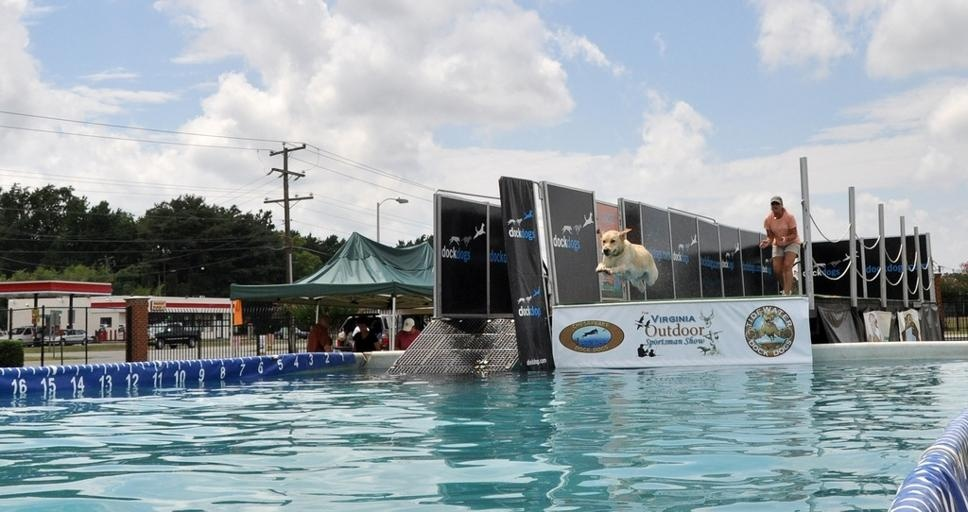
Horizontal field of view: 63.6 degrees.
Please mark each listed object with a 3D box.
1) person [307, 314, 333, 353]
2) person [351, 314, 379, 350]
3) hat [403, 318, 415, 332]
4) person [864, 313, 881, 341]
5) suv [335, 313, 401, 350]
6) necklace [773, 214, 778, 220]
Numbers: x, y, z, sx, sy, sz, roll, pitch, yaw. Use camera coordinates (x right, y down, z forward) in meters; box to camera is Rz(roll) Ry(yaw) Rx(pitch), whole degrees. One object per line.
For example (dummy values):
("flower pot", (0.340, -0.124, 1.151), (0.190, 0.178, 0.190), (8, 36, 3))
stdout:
("person", (-5.097, 2.370, 24.119), (0.679, 1.183, 1.694), (-3, 6, -13))
("person", (-3.772, 2.503, 25.231), (0.939, 0.776, 1.459), (2, 5, -2))
("hat", (-2.362, 2.194, 24.554), (0.347, 0.399, 0.402), (-3, 6, -16))
("person", (13.931, 2.517, 27.874), (0.490, 1.011, 1.825), (2, 6, 31))
("suv", (-4.729, 3.000, 31.827), (1.871, 1.642, 3.180), (-4, 10, -8))
("necklace", (8.236, -1.115, 21.822), (0.189, 0.106, 0.159), (1, -32, 11))
